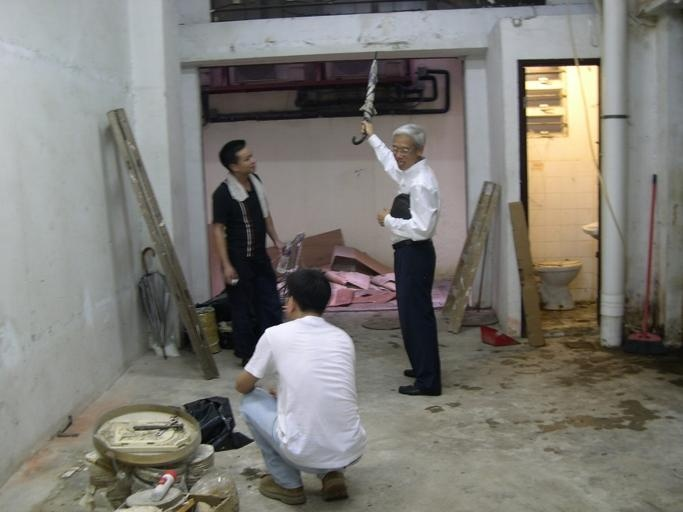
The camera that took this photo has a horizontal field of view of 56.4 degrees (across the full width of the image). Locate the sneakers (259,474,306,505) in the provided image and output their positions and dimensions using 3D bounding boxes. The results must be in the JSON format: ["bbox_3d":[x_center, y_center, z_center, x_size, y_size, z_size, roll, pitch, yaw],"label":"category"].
[{"bbox_3d":[-0.346,1.346,3.714,0.256,0.117,0.120,19,18,36],"label":"sneakers"}]

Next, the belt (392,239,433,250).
[{"bbox_3d":[0.542,-0.094,4.989,0.294,0.097,0.169,0,12,7],"label":"belt"}]

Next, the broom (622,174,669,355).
[{"bbox_3d":[2.758,0.087,5.725,0.369,1.663,0.219,5,12,30],"label":"broom"}]

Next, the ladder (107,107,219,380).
[{"bbox_3d":[-1.700,-0.099,5.945,0.208,2.782,0.277,-21,6,-39],"label":"ladder"}]

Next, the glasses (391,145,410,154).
[{"bbox_3d":[0.445,-0.831,4.924,0.151,0.071,0.055,8,15,39],"label":"glasses"}]

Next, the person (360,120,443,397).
[{"bbox_3d":[0.557,0.048,4.996,0.391,2.107,0.488,-6,13,-21],"label":"person"}]

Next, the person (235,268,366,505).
[{"bbox_3d":[-0.234,0.754,3.550,0.698,1.345,0.382,-2,12,-5],"label":"person"}]

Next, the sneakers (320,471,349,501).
[{"bbox_3d":[-0.044,1.305,3.614,0.095,0.221,0.099,0,54,-3],"label":"sneakers"}]

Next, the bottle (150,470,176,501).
[{"bbox_3d":[-0.940,1.215,3.371,0.048,0.156,0.157,20,-14,13],"label":"bottle"}]

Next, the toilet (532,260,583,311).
[{"bbox_3d":[2.515,0.343,7.587,0.604,0.598,0.523,-4,5,-1],"label":"toilet"}]

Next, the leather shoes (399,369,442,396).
[{"bbox_3d":[0.586,1.052,5.161,0.435,0.181,0.147,7,14,28],"label":"leather shoes"}]

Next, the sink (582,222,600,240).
[{"bbox_3d":[2.837,-0.283,7.267,0.179,0.095,0.265,-2,28,20],"label":"sink"}]
